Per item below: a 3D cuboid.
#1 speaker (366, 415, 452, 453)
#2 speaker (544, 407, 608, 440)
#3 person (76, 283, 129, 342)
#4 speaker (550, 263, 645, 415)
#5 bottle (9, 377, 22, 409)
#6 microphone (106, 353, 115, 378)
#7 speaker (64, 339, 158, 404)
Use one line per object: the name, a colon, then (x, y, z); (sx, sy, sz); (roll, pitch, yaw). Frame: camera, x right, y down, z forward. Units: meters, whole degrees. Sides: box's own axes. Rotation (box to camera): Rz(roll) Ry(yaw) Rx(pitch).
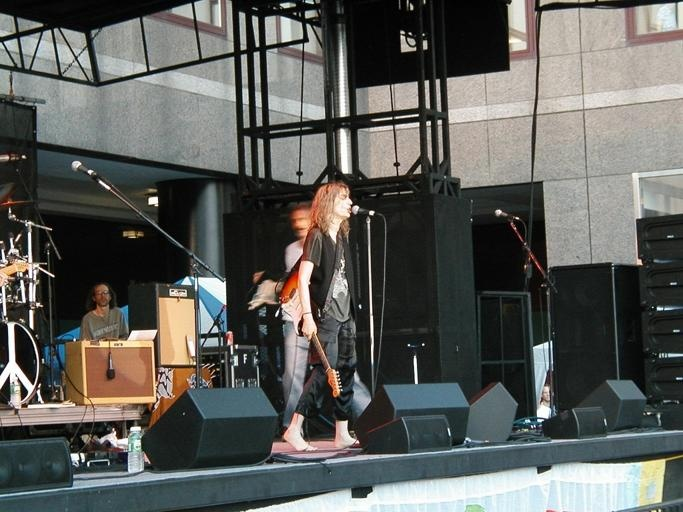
speaker: (0.460, 1.252, 7.744); (0.470, 0.228, 0.464); (6, -6, -43)
speaker: (1.727, 1.261, 8.267); (0.289, 0.185, 0.284); (3, -7, -36)
person: (-2.484, 0.710, 11.556); (0.510, 0.910, 0.233); (-6, 20, -16)
speaker: (2.337, 0.724, 10.056); (0.789, 1.192, 0.798); (3, -9, -27)
bottle: (-2.787, 1.177, 9.432); (0.092, 0.249, 0.420); (-2, -2, -16)
microphone: (-2.019, 0.973, 9.641); (0.077, 0.242, 0.050); (-2, -1, -21)
speaker: (-1.844, 1.055, 9.898); (0.720, 0.556, 0.413); (-5, -1, 24)
